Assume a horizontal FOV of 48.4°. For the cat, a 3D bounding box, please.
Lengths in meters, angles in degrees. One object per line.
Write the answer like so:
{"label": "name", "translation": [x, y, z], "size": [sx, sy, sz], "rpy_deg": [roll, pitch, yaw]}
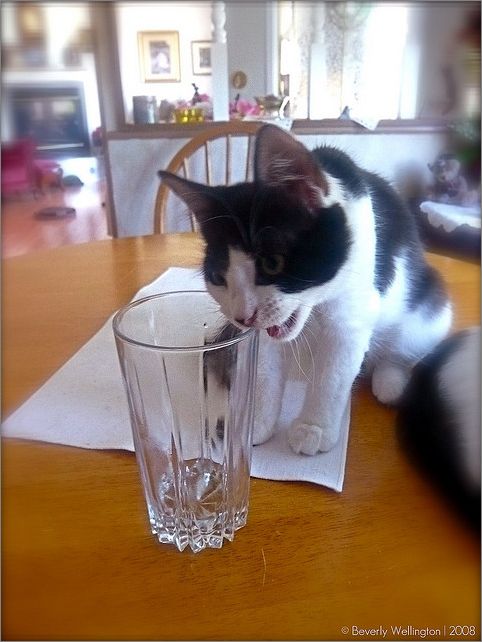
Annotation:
{"label": "cat", "translation": [0.080, -0.042, 0.531], "size": [0.206, 0.291, 0.322], "rpy_deg": [7, 22, 31]}
